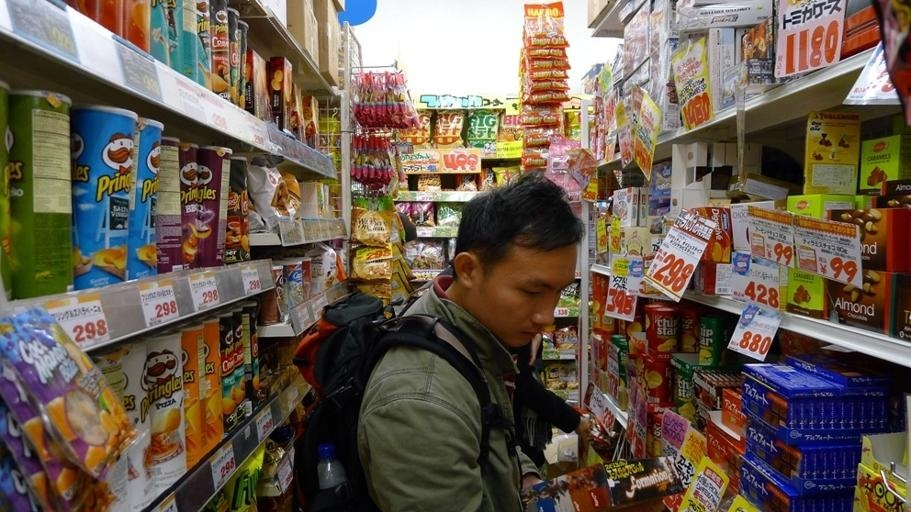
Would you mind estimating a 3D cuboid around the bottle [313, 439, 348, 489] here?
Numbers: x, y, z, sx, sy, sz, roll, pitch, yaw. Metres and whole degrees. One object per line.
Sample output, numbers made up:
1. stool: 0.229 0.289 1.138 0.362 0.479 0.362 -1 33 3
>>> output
1. bottle: -0.406 0.684 1.785 0.090 0.134 0.058 0 -4 -16
